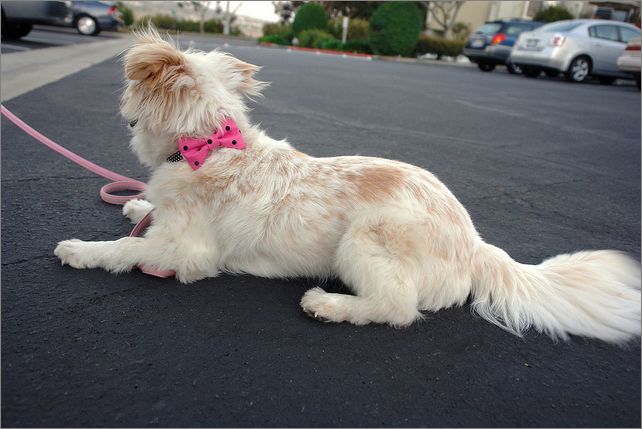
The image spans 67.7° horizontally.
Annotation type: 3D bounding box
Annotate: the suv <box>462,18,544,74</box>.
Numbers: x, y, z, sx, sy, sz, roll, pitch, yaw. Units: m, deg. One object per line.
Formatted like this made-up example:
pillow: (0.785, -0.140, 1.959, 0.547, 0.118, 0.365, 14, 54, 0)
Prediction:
suv: (8.219, -6.476, 18.765, 5.135, 1.771, 2.160, -2, 19, -19)
